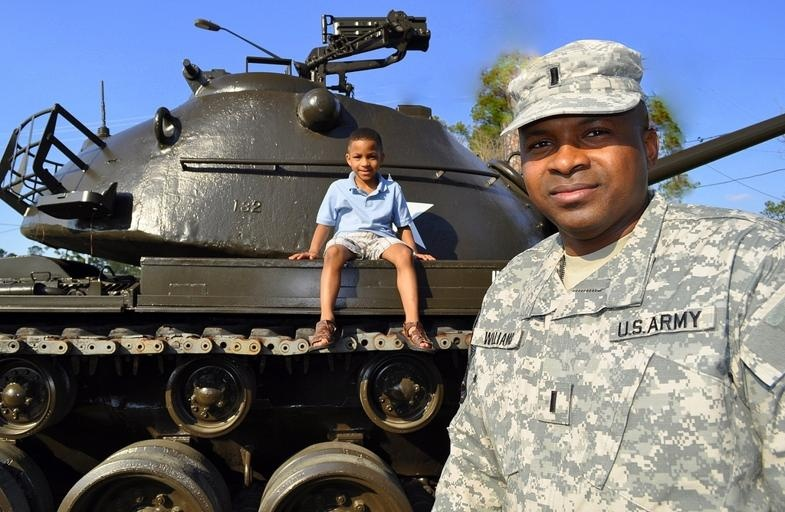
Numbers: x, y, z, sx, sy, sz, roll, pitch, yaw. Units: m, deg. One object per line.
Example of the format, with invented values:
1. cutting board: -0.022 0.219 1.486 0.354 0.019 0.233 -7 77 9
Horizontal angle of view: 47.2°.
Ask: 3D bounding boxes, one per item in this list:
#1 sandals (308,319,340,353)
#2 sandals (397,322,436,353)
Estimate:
1. sandals: -0.593 0.682 7.662 0.222 0.295 0.679 0 -6 3
2. sandals: 0.200 0.681 7.701 0.307 0.262 0.186 -2 -23 15
